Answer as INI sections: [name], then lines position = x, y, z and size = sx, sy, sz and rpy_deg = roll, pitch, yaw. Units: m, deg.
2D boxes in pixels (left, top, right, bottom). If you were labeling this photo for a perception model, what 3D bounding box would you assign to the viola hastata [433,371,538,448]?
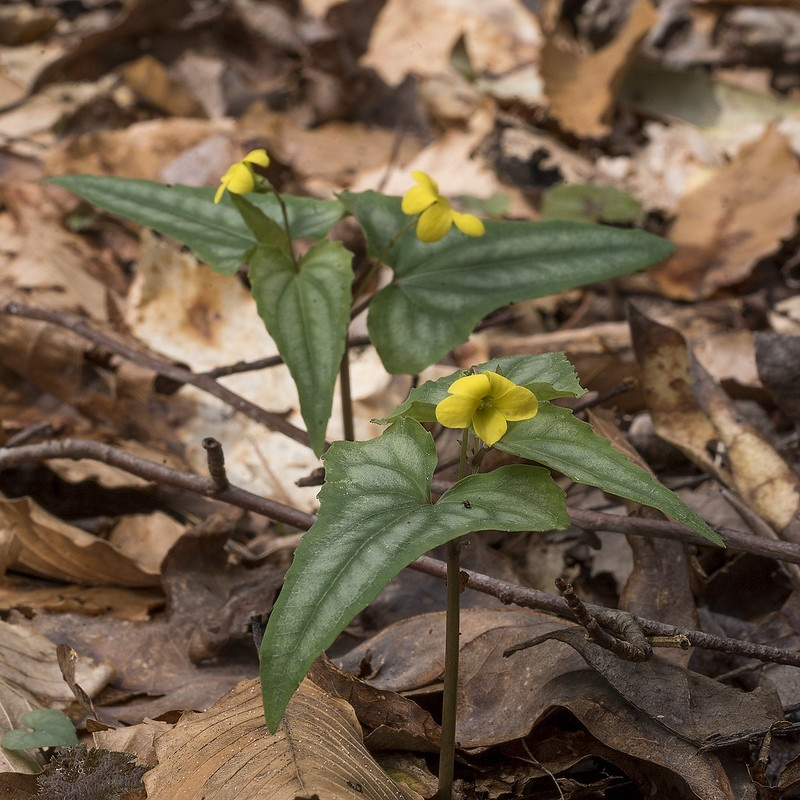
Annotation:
[viola hastata]
position = 0.165, 0.020, 2.105
size = 0.146, 0.146, 0.118
rpy_deg = 27, 54, 22
